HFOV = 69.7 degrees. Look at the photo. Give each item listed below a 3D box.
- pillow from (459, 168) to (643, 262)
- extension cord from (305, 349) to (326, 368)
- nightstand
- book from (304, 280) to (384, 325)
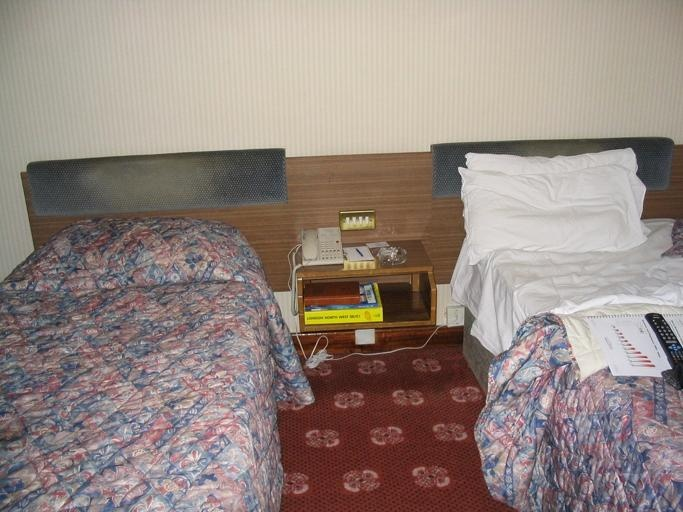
[{"bbox_3d":[1.201,-0.242,2.818,0.946,0.488,0.247,-3,-22,3],"label":"pillow"},{"bbox_3d":[-0.161,0.667,3.214,0.136,0.055,0.083,-21,43,-30],"label":"extension cord"},{"bbox_3d":[0.263,0.212,3.057,1.023,0.363,0.610,-3,27,-2],"label":"nightstand"},{"bbox_3d":[0.005,0.285,3.064,0.474,0.192,0.314,-5,19,1],"label":"book"}]
